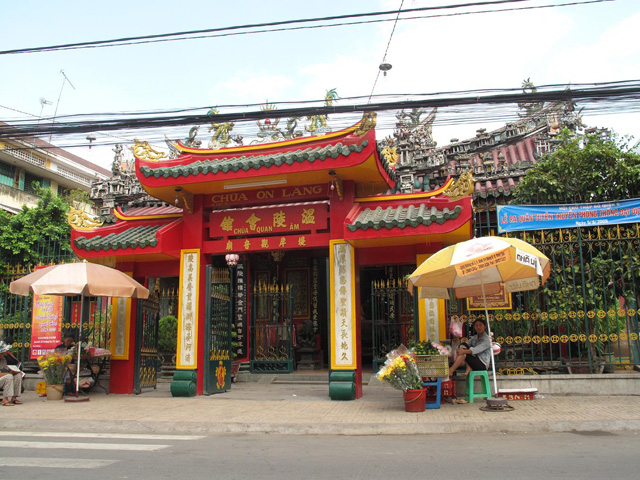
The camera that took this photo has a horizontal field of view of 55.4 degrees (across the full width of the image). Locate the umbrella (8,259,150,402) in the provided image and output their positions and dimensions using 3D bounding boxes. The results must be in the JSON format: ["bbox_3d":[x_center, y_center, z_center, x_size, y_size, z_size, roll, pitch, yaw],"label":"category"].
[{"bbox_3d":[-5.467,2.159,13.932,3.015,2.981,2.977,-2,-14,5],"label":"umbrella"}]

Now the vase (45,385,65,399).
[{"bbox_3d":[-5.947,3.416,13.639,0.313,0.228,0.312,16,-21,-41],"label":"vase"}]

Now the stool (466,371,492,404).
[{"bbox_3d":[3.186,2.918,12.131,0.462,0.568,0.463,-3,-10,14],"label":"stool"}]

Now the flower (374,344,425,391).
[{"bbox_3d":[1.539,2.434,11.353,0.759,0.782,0.784,-48,-5,-3],"label":"flower"}]

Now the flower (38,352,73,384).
[{"bbox_3d":[-5.979,2.893,13.881,0.695,0.737,0.700,3,-11,-40],"label":"flower"}]

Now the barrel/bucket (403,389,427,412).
[{"bbox_3d":[1.734,2.923,11.189,0.417,0.315,0.438,0,-9,0],"label":"barrel/bucket"}]

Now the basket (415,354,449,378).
[{"bbox_3d":[2.178,2.430,11.706,0.480,0.289,0.479,-1,-11,9],"label":"basket"}]

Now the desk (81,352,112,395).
[{"bbox_3d":[-5.372,3.239,14.576,0.858,0.945,0.857,-2,-11,11],"label":"desk"}]

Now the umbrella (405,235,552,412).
[{"bbox_3d":[3.130,1.544,11.896,2.385,3.155,2.421,-2,-2,35],"label":"umbrella"}]
